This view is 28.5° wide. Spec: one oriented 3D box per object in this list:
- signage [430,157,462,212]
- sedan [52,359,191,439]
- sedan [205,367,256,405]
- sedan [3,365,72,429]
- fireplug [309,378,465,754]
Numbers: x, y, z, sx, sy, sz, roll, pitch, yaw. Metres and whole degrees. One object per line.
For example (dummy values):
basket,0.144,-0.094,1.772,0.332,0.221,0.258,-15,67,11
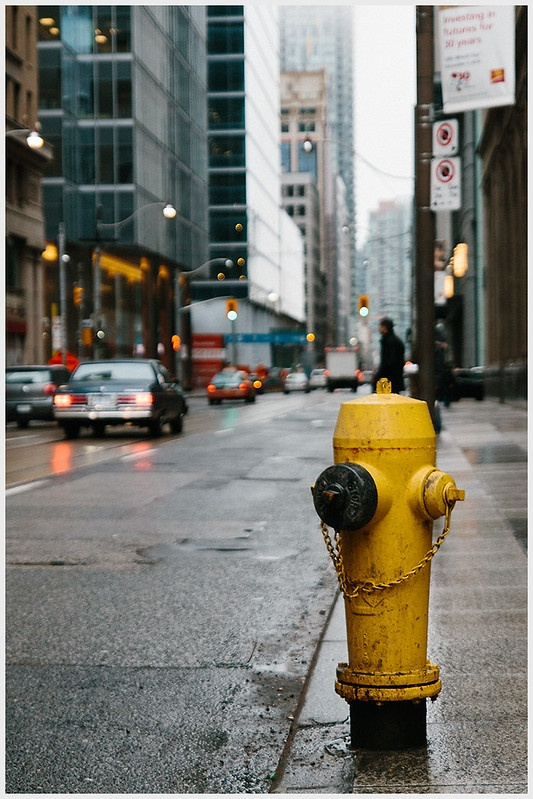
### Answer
signage,1.677,-1.978,9.821,0.293,0.625,0.076,0,-26,12
sedan,-2.843,-0.003,20.081,1.904,1.474,2.433,-1,2,10
sedan,-1.430,-0.447,43.052,1.713,1.295,3.067,-1,2,1
sedan,-5.669,-0.067,25.988,1.111,1.244,2.260,-1,5,3
fireplug,0.428,0.607,3.720,0.515,1.233,0.343,-1,2,0
